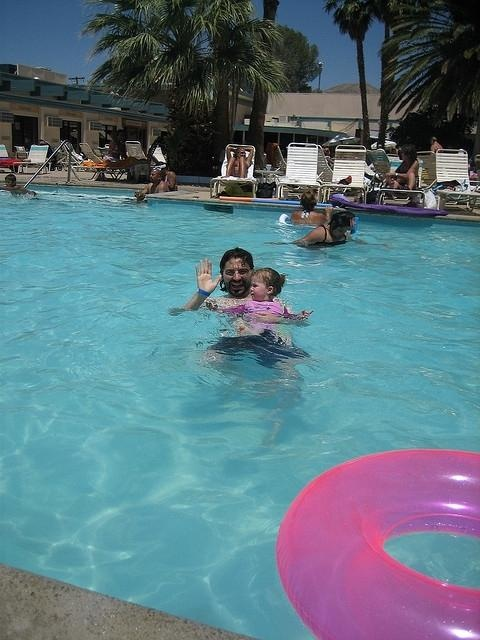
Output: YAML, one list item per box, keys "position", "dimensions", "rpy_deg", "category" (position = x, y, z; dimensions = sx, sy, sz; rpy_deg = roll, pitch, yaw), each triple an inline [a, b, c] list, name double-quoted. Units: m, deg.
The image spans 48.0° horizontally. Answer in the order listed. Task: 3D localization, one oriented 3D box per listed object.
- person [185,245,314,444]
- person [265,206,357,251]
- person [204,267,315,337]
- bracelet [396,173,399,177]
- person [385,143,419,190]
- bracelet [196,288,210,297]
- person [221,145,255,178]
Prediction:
- position: [0.067, 0.018, 3.422]
  dimensions: [0.805, 0.899, 1.271]
  rpy_deg: [-2, 10, -9]
  category: "person"
- position: [1.109, -1.210, 7.565]
  dimensions: [0.739, 0.292, 0.579]
  rpy_deg: [18, 43, 25]
  category: "person"
- position: [0.135, -0.114, 3.937]
  dimensions: [0.799, 0.277, 0.872]
  rpy_deg: [-7, 28, 8]
  category: "person"
- position: [3.223, -2.946, 11.009]
  dimensions: [0.061, 0.039, 0.061]
  rpy_deg: [-5, 41, 4]
  category: "bracelet"
- position: [3.370, -3.156, 11.201]
  dimensions: [0.638, 0.955, 1.078]
  rpy_deg: [2, 11, 16]
  category: "person"
- position: [-0.247, -0.178, 3.641]
  dimensions: [0.064, 0.024, 0.066]
  rpy_deg: [18, -2, 40]
  category: "bracelet"
- position: [-0.025, -3.862, 12.959]
  dimensions: [0.704, 0.453, 1.185]
  rpy_deg: [6, 35, 4]
  category: "person"
